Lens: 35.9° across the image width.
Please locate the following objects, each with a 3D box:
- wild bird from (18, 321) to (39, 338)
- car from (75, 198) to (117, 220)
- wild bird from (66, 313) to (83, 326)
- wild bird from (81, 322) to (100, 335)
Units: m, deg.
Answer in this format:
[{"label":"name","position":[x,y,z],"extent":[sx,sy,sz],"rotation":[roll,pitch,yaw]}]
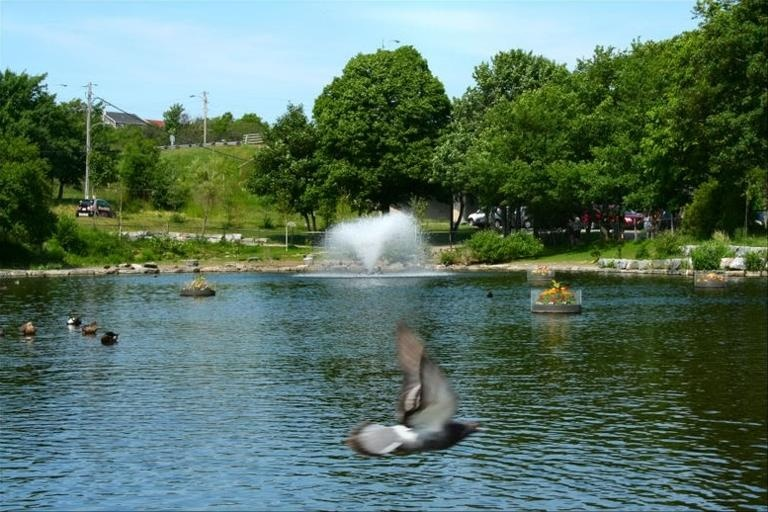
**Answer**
[{"label":"wild bird","position":[-18.948,3.893,63.562],"extent":[0.820,0.761,1.009],"rotation":[0,-4,-16]},{"label":"car","position":[-30.433,-5.019,126.639],"extent":[2.363,1.626,3.809],"rotation":[4,10,21]},{"label":"wild bird","position":[-17.241,3.560,66.329],"extent":[0.714,0.620,0.945],"rotation":[2,4,-5]},{"label":"wild bird","position":[-15.731,3.892,64.118],"extent":[0.692,0.449,0.816],"rotation":[2,7,25]}]
